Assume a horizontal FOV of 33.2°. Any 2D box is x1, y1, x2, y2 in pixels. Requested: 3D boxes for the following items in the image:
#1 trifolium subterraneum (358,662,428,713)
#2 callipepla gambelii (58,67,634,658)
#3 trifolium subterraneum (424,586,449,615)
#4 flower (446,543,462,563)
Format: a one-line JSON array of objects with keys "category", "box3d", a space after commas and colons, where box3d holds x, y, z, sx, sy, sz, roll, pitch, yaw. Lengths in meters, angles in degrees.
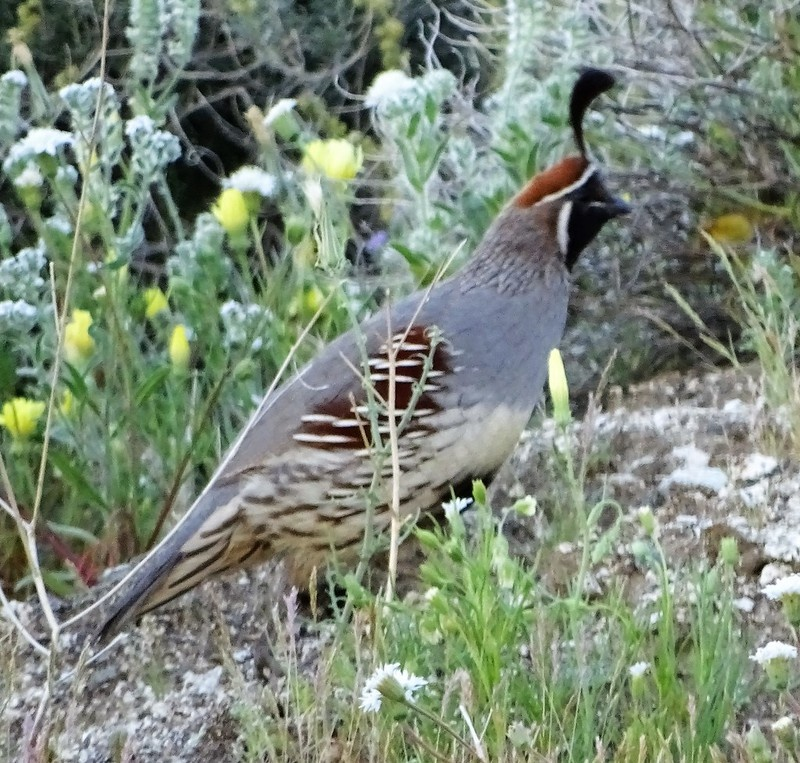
[{"category": "trifolium subterraneum", "box3d": [-0.011, 0.406, 1.770, 0.082, 0.096, 0.061, -9, 15, -40]}, {"category": "callipepla gambelii", "box3d": [-0.021, -0.029, 2.486, 1.255, 0.657, 0.387, -30, 23, -30]}, {"category": "trifolium subterraneum", "box3d": [0.051, 0.308, 1.877, 0.025, 0.042, 0.013, -15, 13, 35]}, {"category": "flower", "box3d": [0.079, 0.242, 1.885, 0.019, 0.030, 0.016, -15, 17, 0]}]
